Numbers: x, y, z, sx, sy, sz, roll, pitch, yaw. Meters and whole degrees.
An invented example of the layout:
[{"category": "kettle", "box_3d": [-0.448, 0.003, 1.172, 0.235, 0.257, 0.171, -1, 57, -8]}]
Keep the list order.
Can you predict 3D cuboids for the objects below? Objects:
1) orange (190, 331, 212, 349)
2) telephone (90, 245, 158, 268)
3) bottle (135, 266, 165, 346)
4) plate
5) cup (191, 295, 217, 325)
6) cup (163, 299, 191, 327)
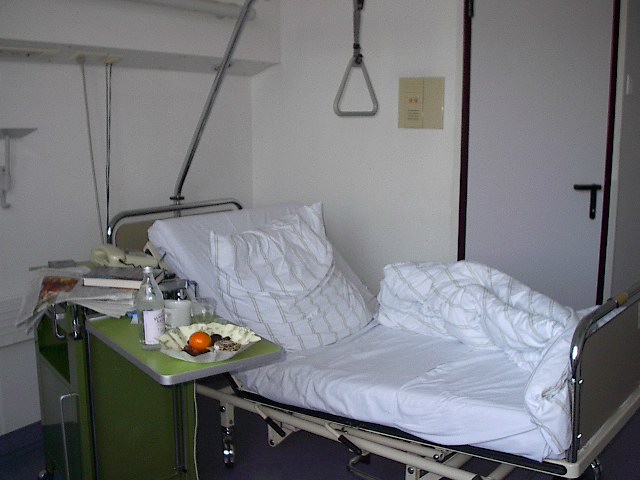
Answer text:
[{"category": "orange", "box_3d": [-0.440, 0.376, 1.882, 0.061, 0.063, 0.065, -7, -27, -3]}, {"category": "telephone", "box_3d": [-0.973, 0.094, 2.568, 0.265, 0.115, 0.163, 10, 1, 4]}, {"category": "bottle", "box_3d": [-0.651, 0.251, 1.970, 0.103, 0.283, 0.217, -4, 8, -20]}, {"category": "plate", "box_3d": [-0.424, 0.384, 1.923, 0.323, 0.085, 0.287, 2, 8, 27]}, {"category": "cup", "box_3d": [-0.488, 0.289, 2.138, 0.090, 0.095, 0.195, -3, 7, -11]}, {"category": "cup", "box_3d": [-0.569, 0.285, 2.034, 0.077, 0.105, 0.106, -3, 5, -23]}]
